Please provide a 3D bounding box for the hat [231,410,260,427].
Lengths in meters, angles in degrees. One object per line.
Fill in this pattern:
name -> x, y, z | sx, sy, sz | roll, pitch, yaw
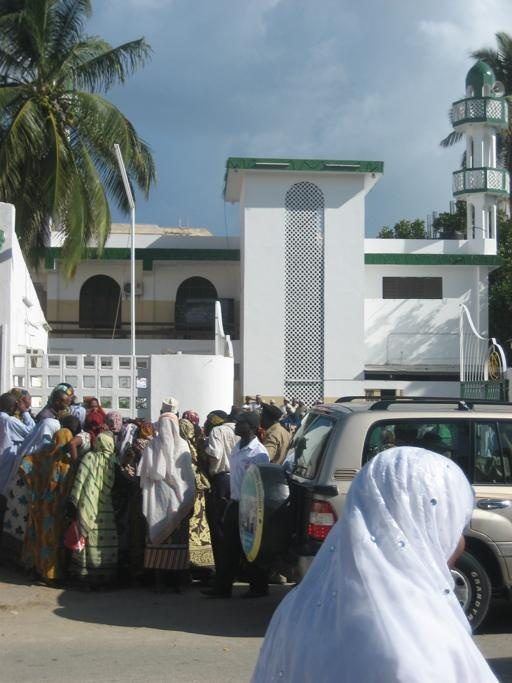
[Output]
hat -> -0.078, 0.684, 13.785 | 0.163, 0.095, 0.139 | 11, 1, -1

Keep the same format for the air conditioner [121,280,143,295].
air conditioner -> -2.864, -1.410, 35.278 | 0.410, 0.467, 0.256 | 1, -3, -10

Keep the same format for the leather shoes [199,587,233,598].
leather shoes -> -0.370, 2.271, 13.760 | 0.277, 0.092, 0.171 | -1, -5, 4
